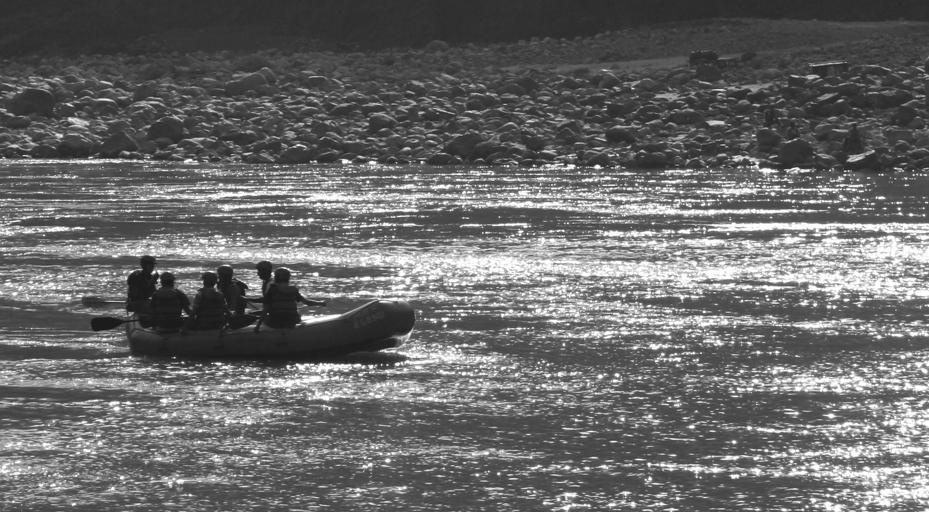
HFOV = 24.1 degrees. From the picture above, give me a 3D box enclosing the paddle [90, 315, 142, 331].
[{"bbox_3d":[-12.637,2.391,77.112,2.500,0.443,0.098,-2,-1,4],"label":"paddle"}]
